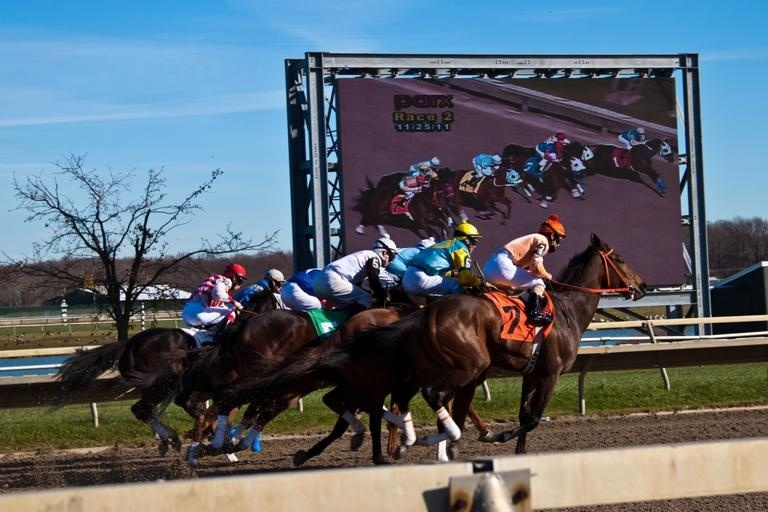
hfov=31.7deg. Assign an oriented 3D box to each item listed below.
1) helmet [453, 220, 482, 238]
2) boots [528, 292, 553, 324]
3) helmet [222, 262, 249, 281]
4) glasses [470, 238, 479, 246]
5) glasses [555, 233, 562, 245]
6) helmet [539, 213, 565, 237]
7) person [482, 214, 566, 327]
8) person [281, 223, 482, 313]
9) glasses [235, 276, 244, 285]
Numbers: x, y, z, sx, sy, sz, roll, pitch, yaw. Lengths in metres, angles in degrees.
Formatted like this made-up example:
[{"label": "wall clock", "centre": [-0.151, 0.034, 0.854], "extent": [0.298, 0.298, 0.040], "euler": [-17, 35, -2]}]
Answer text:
[{"label": "helmet", "centre": [1.323, -0.403, 21.416], "extent": [0.446, 0.247, 0.303], "euler": [1, 3, 9]}, {"label": "boots", "centre": [2.386, 0.840, 20.739], "extent": [0.353, 0.493, 0.166], "euler": [3, -3, -30]}, {"label": "helmet", "centre": [-2.461, 0.280, 22.351], "extent": [0.378, 0.167, 0.235], "euler": [1, 2, -5]}, {"label": "glasses", "centre": [1.478, -0.219, 22.105], "extent": [0.098, 0.120, 0.124], "euler": [-4, -14, 0]}, {"label": "glasses", "centre": [2.814, -0.259, 21.796], "extent": [0.107, 0.156, 0.148], "euler": [-4, -19, -15]}, {"label": "helmet", "centre": [2.805, -0.462, 21.592], "extent": [0.560, 0.367, 0.401], "euler": [2, 2, -5]}, {"label": "person", "centre": [2.221, 0.153, 21.476], "extent": [1.268, 1.742, 1.059], "euler": [9, -1, -9]}, {"label": "person", "centre": [0.128, 0.228, 23.002], "extent": [2.391, 1.122, 0.737], "euler": [-15, 22, 3]}, {"label": "glasses", "centre": [-2.389, 0.436, 22.375], "extent": [0.105, 0.075, 0.152], "euler": [8, 2, -12]}]
